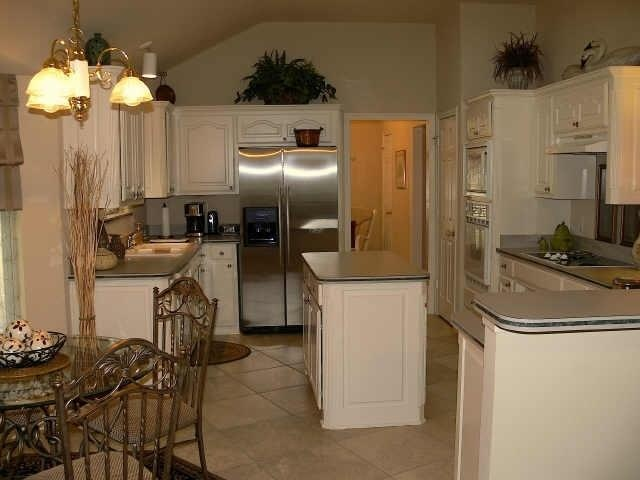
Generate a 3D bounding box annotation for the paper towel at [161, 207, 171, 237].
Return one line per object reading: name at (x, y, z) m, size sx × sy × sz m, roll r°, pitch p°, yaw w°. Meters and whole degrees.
paper towel at (-1.934, -0.234, 6.339) m, size 0.069 × 0.371 × 0.392 m, roll -3°, pitch 8°, yaw -12°

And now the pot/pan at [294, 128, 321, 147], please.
pot/pan at (-0.159, -1.214, 6.011) m, size 0.239 × 0.159 × 0.246 m, roll -1°, pitch 15°, yaw -5°

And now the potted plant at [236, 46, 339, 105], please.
potted plant at (-0.448, -1.890, 6.094) m, size 0.952 × 0.535 × 0.951 m, roll 3°, pitch 11°, yaw 20°

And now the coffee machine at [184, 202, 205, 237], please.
coffee machine at (-1.604, -0.252, 6.401) m, size 0.237 × 0.407 × 0.263 m, roll -1°, pitch 8°, yaw -1°

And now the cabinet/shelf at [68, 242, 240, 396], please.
cabinet/shelf at (-1.416, 0.963, 4.669) m, size 1.047 × 0.908 × 2.311 m, roll -1°, pitch 5°, yaw -11°

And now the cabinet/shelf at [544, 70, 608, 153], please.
cabinet/shelf at (2.224, -1.098, 4.392) m, size 0.286 × 0.569 × 0.866 m, roll -1°, pitch 7°, yaw -1°

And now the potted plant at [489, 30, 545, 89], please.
potted plant at (2.126, -1.957, 5.499) m, size 0.532 × 0.718 × 0.751 m, roll 2°, pitch 9°, yaw 22°

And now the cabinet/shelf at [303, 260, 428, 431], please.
cabinet/shelf at (0.365, 0.780, 4.125) m, size 0.945 × 1.157 × 0.886 m, roll -1°, pitch 8°, yaw 2°
